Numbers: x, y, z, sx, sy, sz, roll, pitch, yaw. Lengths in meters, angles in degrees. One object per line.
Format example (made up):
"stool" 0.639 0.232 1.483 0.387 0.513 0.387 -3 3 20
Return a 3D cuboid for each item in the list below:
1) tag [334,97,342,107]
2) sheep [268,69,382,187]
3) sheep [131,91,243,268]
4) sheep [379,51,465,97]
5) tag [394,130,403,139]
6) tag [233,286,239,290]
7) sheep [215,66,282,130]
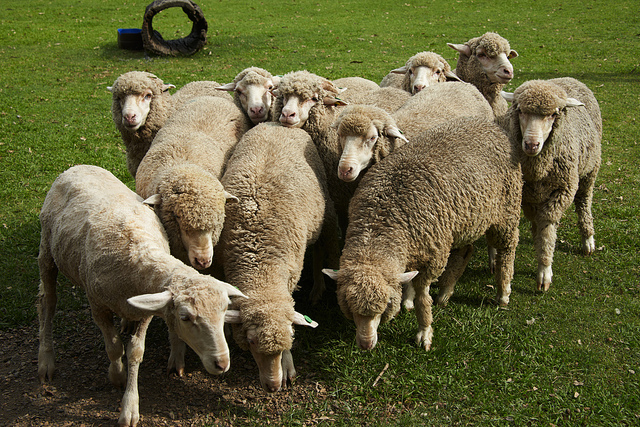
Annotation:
"tag" 0.294 -1.869 12.004 0.104 0.117 0.041 -4 6 22
"sheep" 0.001 -1.547 12.856 1.663 1.702 2.688 13 15 24
"sheep" -1.906 -0.562 11.296 1.319 1.814 3.133 -3 51 3
"sheep" 2.215 -2.542 14.384 1.255 1.251 2.700 10 15 14
"tag" 1.240 -1.247 11.305 0.054 0.165 0.092 -11 13 7
"tag" -1.176 1.047 10.136 0.091 0.019 0.079 12 -1 3
"sheep" -1.052 -1.988 13.213 1.498 1.326 1.944 -3 17 -2
